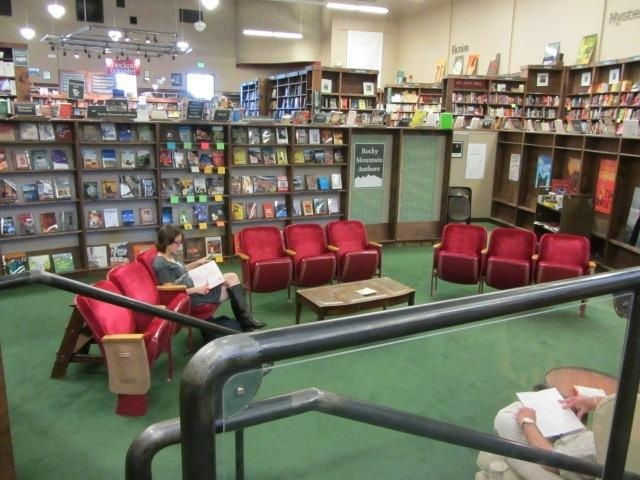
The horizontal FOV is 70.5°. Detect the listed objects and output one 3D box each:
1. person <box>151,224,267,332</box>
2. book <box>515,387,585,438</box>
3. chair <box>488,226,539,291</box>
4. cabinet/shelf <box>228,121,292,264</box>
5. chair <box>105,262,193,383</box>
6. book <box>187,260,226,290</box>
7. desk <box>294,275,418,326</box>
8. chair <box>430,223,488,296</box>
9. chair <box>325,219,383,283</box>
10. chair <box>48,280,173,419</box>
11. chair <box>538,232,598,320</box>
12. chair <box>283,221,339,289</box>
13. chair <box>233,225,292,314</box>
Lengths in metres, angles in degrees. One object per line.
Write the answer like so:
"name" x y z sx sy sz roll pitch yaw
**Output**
"person" -1.153 0.441 4.674 1.079 1.158 0.611 0 17 -12
"book" 0.618 0.462 1.223 0.135 0.033 0.139 -14 49 -10
"chair" 2.327 0.244 5.569 0.563 0.729 0.532 -1 5 24
"cabinet/shelf" -1.028 -0.712 7.528 0.319 2.427 1.264 -15 4 9
"chair" -1.451 0.597 4.033 0.616 0.732 0.592 -3 7 11
"book" -1.185 0.360 4.705 0.280 0.089 0.276 -19 59 -17
"desk" 0.357 0.558 4.888 0.916 0.356 0.576 -8 25 -23
"chair" 1.802 0.277 5.843 0.654 0.871 0.550 6 10 19
"chair" 0.435 0.134 6.190 0.743 0.944 0.805 -4 9 -22
"chair" -1.688 0.733 3.885 0.878 1.242 1.281 -1 7 -4
"chair" 2.781 0.400 5.249 0.635 0.875 0.740 6 6 25
"chair" -0.133 0.153 5.983 0.750 0.932 0.802 -5 9 -26
"chair" -0.777 0.277 5.769 0.826 1.041 0.920 -5 12 -22
